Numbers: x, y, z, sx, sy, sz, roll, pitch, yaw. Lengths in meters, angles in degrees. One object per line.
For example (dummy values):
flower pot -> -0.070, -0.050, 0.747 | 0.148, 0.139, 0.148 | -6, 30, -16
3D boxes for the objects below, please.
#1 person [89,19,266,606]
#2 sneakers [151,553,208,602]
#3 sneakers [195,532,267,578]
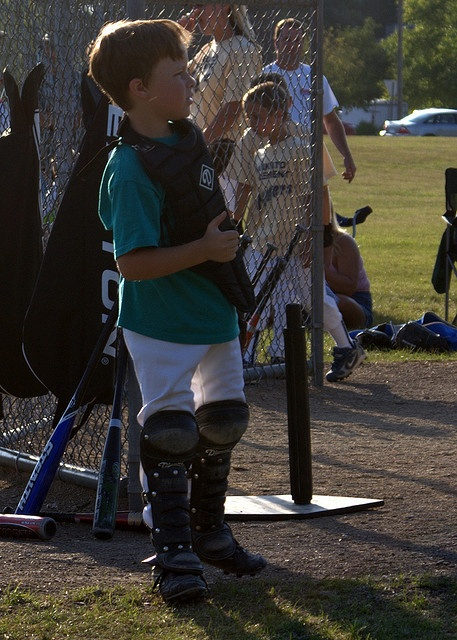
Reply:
person -> -0.110, -0.040, 1.921 | 0.399, 1.355, 0.394 | -1, 5, -11
sneakers -> -0.114, 0.581, 1.814 | 0.065, 0.076, 0.164 | 3, -12, -24
sneakers -> 0.019, 0.582, 2.031 | 0.196, 0.092, 0.066 | 5, 29, 2
